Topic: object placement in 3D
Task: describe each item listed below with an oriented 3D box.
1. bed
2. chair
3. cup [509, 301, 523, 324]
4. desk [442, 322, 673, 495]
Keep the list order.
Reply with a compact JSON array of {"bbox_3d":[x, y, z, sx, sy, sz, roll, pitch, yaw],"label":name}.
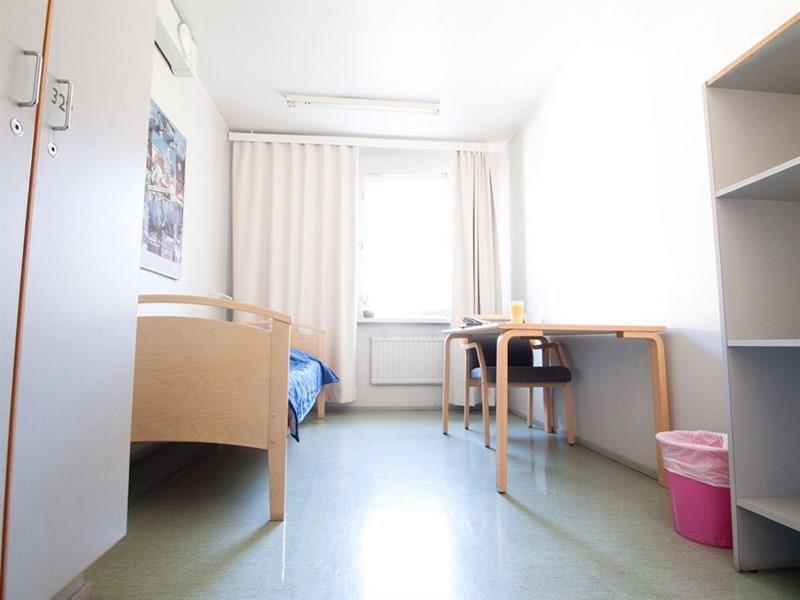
[{"bbox_3d":[-0.754,0.358,2.727,0.632,0.634,0.983,2,-4,-1],"label":"bed"},{"bbox_3d":[0.532,0.334,2.816,0.542,0.354,0.560,-10,-11,33],"label":"chair"},{"bbox_3d":[0.601,0.067,2.935,0.056,0.106,0.252,1,0,9],"label":"cup"},{"bbox_3d":[0.789,0.485,3.155,0.859,0.710,1.220,1,0,-8],"label":"desk"}]
